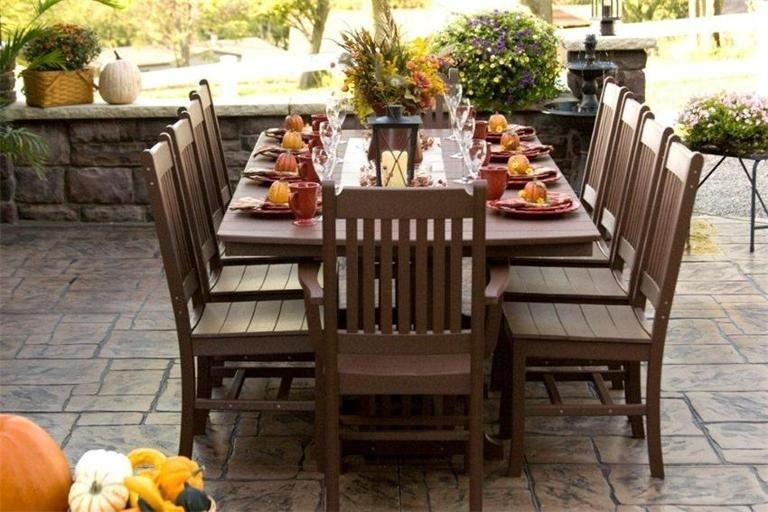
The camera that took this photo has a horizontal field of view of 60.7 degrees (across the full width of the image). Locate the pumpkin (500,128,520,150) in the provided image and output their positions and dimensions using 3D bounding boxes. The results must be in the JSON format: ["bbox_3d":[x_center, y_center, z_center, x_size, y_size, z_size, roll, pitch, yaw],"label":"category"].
[{"bbox_3d":[0.680,-0.660,3.657,0.123,0.117,0.112,-1,10,-4],"label":"pumpkin"}]

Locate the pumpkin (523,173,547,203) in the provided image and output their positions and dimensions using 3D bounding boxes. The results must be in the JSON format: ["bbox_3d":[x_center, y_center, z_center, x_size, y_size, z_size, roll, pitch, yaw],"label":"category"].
[{"bbox_3d":[0.615,-0.292,2.859,0.115,0.120,0.108,0,9,0],"label":"pumpkin"}]

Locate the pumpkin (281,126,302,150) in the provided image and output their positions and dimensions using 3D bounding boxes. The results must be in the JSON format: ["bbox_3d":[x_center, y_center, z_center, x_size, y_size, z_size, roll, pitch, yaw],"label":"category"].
[{"bbox_3d":[-0.498,-0.662,3.647,0.128,0.128,0.115,2,6,6],"label":"pumpkin"}]

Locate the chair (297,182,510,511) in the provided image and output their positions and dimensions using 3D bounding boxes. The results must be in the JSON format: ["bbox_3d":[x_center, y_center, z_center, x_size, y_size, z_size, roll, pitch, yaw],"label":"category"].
[{"bbox_3d":[0.047,0.319,2.552,0.732,1.348,0.743,-3,20,6],"label":"chair"}]

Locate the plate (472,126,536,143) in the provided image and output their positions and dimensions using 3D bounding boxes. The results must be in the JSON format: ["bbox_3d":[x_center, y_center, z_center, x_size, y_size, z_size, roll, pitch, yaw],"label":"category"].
[{"bbox_3d":[0.722,-0.721,3.816,0.318,0.055,0.285,2,11,4],"label":"plate"}]

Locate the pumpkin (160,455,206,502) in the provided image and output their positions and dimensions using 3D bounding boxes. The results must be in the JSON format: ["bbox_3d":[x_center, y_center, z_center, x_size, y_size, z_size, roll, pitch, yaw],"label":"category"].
[{"bbox_3d":[-0.683,0.741,2.219,0.148,0.131,0.148,-30,-27,23],"label":"pumpkin"}]

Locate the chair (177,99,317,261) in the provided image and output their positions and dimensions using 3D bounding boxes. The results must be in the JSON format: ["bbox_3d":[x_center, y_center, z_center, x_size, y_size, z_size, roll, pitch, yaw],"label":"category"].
[{"bbox_3d":[-0.690,-0.396,3.294,0.529,0.716,1.265,-4,32,-12],"label":"chair"}]

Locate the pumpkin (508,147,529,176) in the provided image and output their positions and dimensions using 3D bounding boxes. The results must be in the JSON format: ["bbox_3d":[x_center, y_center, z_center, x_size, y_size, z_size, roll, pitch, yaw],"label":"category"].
[{"bbox_3d":[0.652,-0.469,3.288,0.134,0.132,0.120,-3,2,0],"label":"pumpkin"}]

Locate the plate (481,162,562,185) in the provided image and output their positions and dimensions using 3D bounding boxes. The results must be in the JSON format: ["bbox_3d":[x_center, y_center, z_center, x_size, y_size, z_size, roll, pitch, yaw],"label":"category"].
[{"bbox_3d":[0.641,-0.390,3.112,0.300,0.054,0.300,8,15,37],"label":"plate"}]

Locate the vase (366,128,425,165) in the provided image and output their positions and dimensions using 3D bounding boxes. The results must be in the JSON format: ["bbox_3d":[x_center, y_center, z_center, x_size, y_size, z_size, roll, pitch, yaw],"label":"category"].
[{"bbox_3d":[0.044,-0.546,3.249,0.229,0.144,0.204,0,13,1],"label":"vase"}]

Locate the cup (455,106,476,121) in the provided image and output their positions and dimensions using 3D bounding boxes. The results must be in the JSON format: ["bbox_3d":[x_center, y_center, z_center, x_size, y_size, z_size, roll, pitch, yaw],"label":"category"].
[{"bbox_3d":[0.419,-0.725,3.322,0.105,0.062,0.073,-1,6,-19],"label":"cup"}]

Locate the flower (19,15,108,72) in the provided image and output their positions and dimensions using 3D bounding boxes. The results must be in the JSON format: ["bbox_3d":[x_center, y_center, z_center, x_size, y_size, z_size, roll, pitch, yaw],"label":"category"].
[{"bbox_3d":[-2.574,-1.707,5.311,0.549,0.309,0.465,-6,17,-22],"label":"flower"}]

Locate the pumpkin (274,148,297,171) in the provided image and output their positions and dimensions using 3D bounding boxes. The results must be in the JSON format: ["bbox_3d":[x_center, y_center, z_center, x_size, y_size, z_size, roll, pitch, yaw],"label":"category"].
[{"bbox_3d":[-0.485,-0.482,3.325,0.130,0.125,0.111,2,1,-4],"label":"pumpkin"}]
